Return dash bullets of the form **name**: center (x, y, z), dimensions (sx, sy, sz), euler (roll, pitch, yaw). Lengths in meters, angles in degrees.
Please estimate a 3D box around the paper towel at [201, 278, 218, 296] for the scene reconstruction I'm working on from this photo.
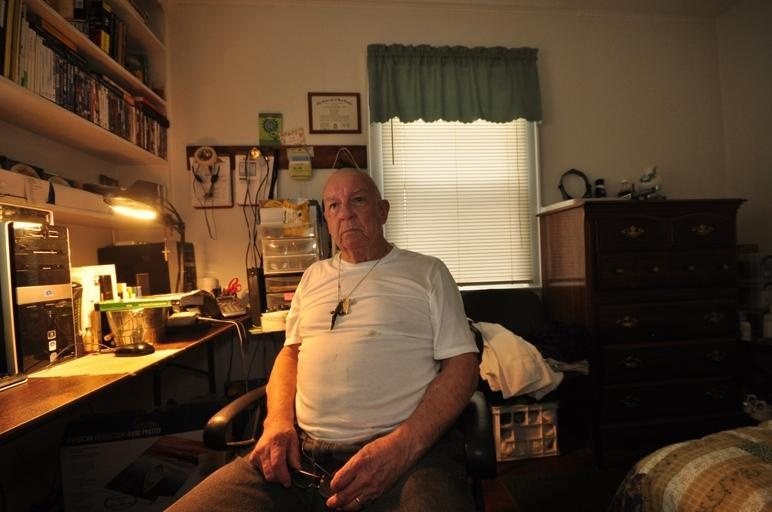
- **paper towel**: center (-1.297, 0.231, 4.406), dimensions (0.125, 0.091, 0.126), euler (-1, 0, 37)

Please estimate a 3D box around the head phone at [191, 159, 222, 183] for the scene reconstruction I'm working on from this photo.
- **head phone**: center (-1.378, -0.645, 4.573), dimensions (0.187, 0.183, 0.101), euler (0, -4, -7)

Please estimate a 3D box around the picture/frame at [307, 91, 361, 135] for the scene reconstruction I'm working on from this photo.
- **picture/frame**: center (-0.426, -1.113, 4.682), dimensions (0.350, 0.282, 0.033), euler (-1, -6, -8)

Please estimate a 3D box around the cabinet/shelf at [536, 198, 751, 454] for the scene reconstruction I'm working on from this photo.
- **cabinet/shelf**: center (2.005, 0.448, 4.602), dimensions (1.225, 1.873, 0.981), euler (-2, 4, -1)

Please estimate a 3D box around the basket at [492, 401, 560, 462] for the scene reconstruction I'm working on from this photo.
- **basket**: center (0.911, 1.146, 3.960), dimensions (0.544, 0.448, 0.205), euler (-2, 0, -6)

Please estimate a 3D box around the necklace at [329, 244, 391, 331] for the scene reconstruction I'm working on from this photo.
- **necklace**: center (-0.183, 0.173, 3.402), dimensions (0.191, 0.482, 0.058), euler (14, -40, 16)

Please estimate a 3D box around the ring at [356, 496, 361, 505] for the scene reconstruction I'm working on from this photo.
- **ring**: center (-0.139, 1.220, 2.978), dimensions (0.024, 0.022, 0.006), euler (8, -1, 29)

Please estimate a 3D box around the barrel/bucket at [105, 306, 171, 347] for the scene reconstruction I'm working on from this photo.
- **barrel/bucket**: center (-1.503, 0.424, 3.628), dimensions (0.275, 0.169, 0.275), euler (-1, -6, 0)

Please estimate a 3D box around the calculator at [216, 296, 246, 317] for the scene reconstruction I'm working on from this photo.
- **calculator**: center (-1.092, 0.367, 4.261), dimensions (0.131, 0.075, 0.175), euler (0, 11, -42)

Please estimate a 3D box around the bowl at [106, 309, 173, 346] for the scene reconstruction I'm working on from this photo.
- **bowl**: center (-1.503, 0.420, 3.651), dimensions (0.258, 0.162, 0.262), euler (-1, -7, 0)

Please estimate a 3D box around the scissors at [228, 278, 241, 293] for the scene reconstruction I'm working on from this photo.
- **scissors**: center (-1.142, 0.223, 4.451), dimensions (0.109, 0.048, 0.088), euler (-10, 22, 42)

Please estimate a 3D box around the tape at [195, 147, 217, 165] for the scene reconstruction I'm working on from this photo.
- **tape**: center (-1.365, -0.757, 4.535), dimensions (0.137, 0.137, 0.083), euler (-20, 1, -7)
